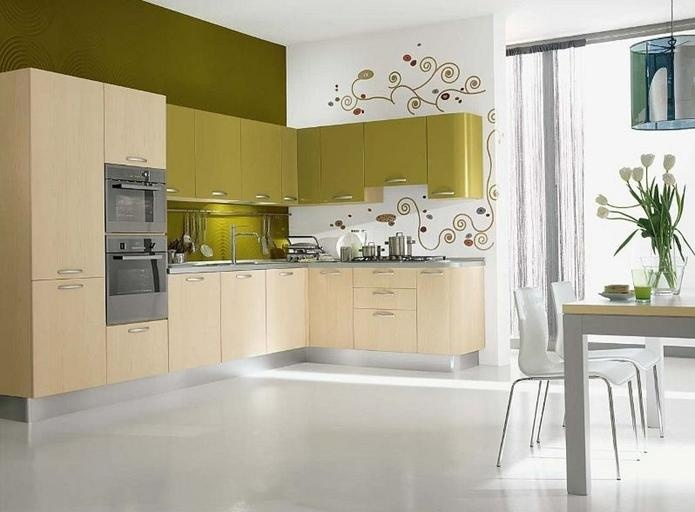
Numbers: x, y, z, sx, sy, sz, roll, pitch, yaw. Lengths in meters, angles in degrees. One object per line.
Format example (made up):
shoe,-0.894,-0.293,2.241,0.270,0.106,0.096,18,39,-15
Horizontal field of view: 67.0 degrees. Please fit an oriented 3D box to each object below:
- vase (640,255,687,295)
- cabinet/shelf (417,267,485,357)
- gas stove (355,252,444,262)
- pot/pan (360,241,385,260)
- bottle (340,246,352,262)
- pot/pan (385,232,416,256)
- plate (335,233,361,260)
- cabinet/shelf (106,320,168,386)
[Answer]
vase,1.726,0.113,2.852,0.230,0.219,0.253,1,-1,25
cabinet/shelf,1.142,0.568,5.578,0.824,0.855,0.302,-1,0,-33
gas stove,0.564,0.030,5.708,0.958,0.059,0.606,-1,0,1
pot/pan,0.282,-0.046,5.977,0.223,0.168,0.174,0,-1,18
bottle,0.003,-0.026,6.098,0.151,0.138,0.126,-1,0,-9
pot/pan,0.609,-0.108,5.968,0.266,0.247,0.256,0,-3,1
plate,0.026,-0.125,6.381,0.303,0.347,0.173,-1,-5,21
cabinet/shelf,-1.887,0.798,4.577,0.380,0.543,0.632,1,0,32
